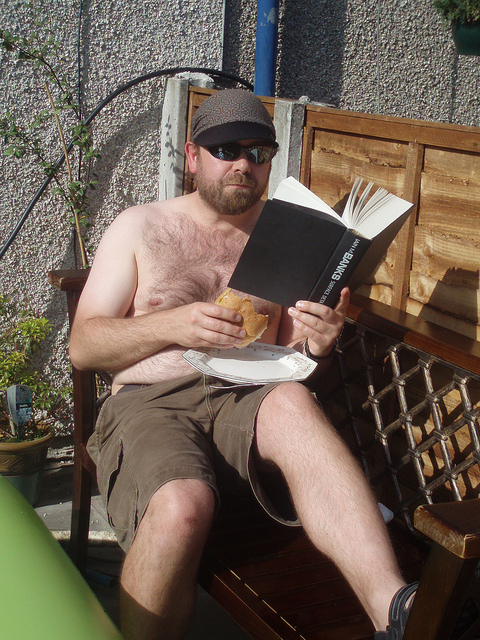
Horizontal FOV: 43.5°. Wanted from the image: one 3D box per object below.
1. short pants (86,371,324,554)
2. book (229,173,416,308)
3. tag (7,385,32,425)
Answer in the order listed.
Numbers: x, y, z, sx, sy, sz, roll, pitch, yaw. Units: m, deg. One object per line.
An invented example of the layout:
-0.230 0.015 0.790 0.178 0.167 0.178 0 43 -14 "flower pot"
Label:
-0.114 0.320 1.529 0.512 0.339 0.486 -5 41 -10 "short pants"
0.157 -0.188 1.454 0.474 0.323 0.156 5 39 -24 "book"
-0.894 0.341 2.467 0.094 0.166 0.124 -9 43 -13 "tag"
